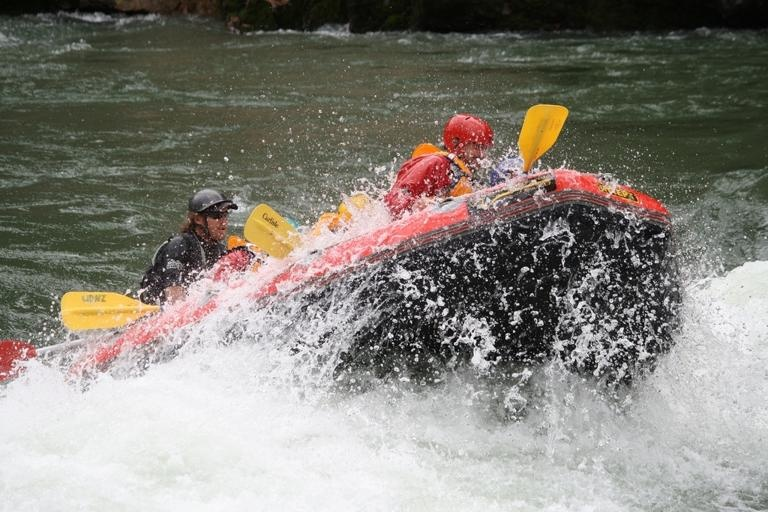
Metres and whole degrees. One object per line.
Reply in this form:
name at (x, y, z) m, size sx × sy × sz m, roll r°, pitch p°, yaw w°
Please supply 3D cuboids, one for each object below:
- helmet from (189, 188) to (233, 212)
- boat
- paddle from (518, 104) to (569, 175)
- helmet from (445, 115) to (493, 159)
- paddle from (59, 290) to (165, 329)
helmet at (-1.931, -0.619, 11.384) m, size 0.392 × 0.169 × 0.273 m, roll -10°, pitch 3°, yaw 3°
boat at (0.870, 0.467, 10.452) m, size 3.786 × 0.908 × 2.051 m, roll -16°, pitch -11°, yaw 8°
paddle at (1.523, -1.039, 10.196) m, size 0.436 × 1.085 × 0.138 m, roll -2°, pitch 52°, yaw -14°
helmet at (0.889, -1.284, 10.860) m, size 0.540 × 0.374 × 0.361 m, roll 13°, pitch 15°, yaw 17°
paddle at (-2.983, 0.566, 11.065) m, size 0.162 × 0.411 × 1.131 m, roll -14°, pitch -7°, yaw 44°
